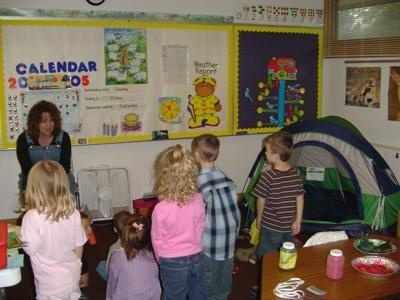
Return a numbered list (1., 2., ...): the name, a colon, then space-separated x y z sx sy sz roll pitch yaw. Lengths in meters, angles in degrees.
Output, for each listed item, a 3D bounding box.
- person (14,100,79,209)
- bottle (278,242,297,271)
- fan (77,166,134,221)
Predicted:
1. person: -1.519 0.054 3.322 0.557 1.038 0.536 -3 17 -25
2. bottle: 0.512 0.613 1.957 0.095 0.148 0.098 1 11 0
3. fan: -1.165 0.553 4.176 0.703 0.723 0.156 6 -11 -8
